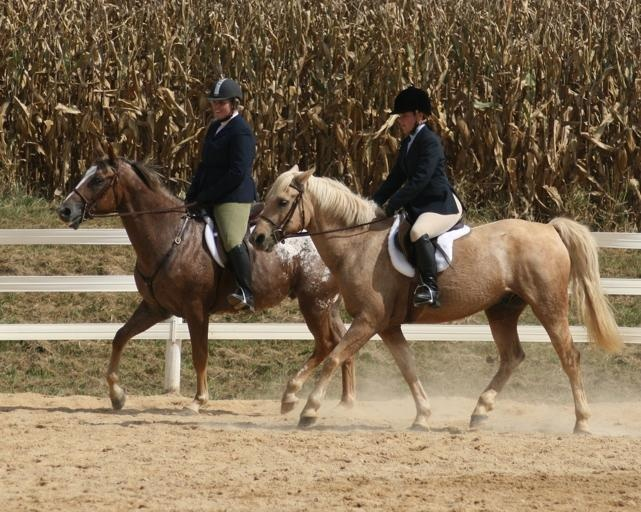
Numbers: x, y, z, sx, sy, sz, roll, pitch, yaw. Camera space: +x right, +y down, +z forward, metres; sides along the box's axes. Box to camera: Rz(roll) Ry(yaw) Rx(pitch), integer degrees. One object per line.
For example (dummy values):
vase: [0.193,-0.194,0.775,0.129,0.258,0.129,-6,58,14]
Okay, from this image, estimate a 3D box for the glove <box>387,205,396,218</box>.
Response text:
glove: [0.871,-0.546,15.034,0.137,0.202,0.192,1,11,2]

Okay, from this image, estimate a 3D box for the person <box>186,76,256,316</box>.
person: [-1.222,-0.744,15.408,0.769,2.896,0.657,1,10,7]

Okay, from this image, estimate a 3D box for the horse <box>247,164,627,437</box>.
horse: [1.474,0.709,15.653,4.492,4.029,1.411,1,18,4]

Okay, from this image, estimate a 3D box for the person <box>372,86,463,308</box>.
person: [1.167,-0.729,15.076,0.901,2.624,0.819,7,12,35]

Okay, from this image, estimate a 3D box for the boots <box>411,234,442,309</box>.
boots: [1.283,0.210,14.828,0.318,0.881,0.286,0,10,-2]

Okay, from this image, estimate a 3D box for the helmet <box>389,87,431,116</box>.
helmet: [1.133,-1.880,15.152,0.375,0.361,0.296,1,-1,-14]
